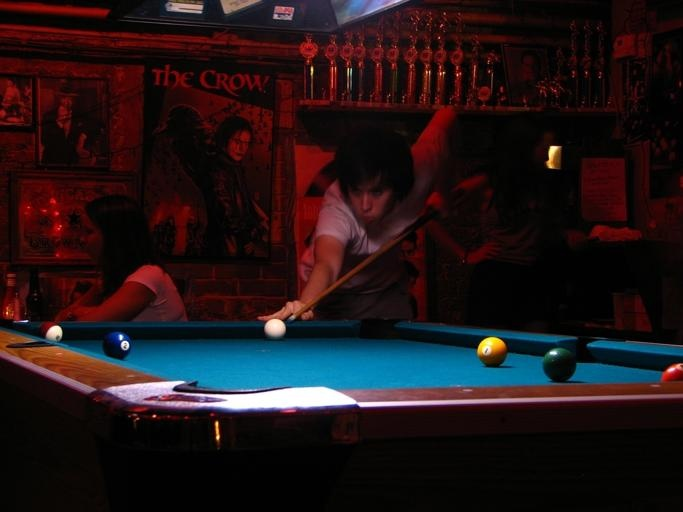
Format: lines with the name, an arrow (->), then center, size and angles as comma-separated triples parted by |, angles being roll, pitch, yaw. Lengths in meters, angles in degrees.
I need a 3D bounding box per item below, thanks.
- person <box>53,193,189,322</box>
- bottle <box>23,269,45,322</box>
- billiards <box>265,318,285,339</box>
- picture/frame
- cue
person -> -1.659, 0.083, 4.742 | 1.060, 1.042, 0.780 | -1, 12, -9
bottle -> -2.141, 0.272, 4.454 | 0.116, 0.356, 0.197 | -3, 8, -18
billiards -> -0.293, 0.330, 2.872 | 0.083, 0.078, 0.086 | -5, -2, 39
picture/frame -> -1.941, -0.225, 4.552 | 0.759, 0.534, 0.075 | 2, -4, -13
cue -> 0.223, 0.016, 4.800 | 1.399, 0.138, 0.141 | -40, 32, -1
